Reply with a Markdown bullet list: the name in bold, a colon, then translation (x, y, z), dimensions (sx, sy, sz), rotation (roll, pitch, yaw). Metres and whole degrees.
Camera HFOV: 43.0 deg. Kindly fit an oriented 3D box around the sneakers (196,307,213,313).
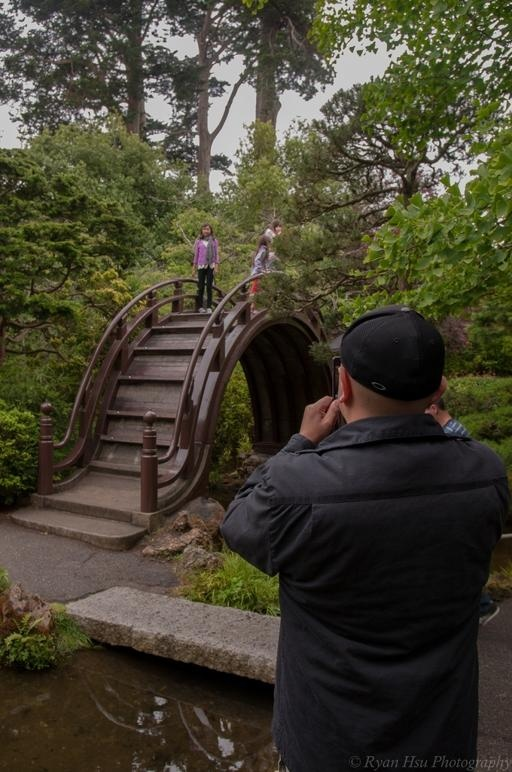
- **sneakers**: translation (-0.801, -1.191, 10.427), dimensions (0.098, 0.102, 0.228), rotation (-1, -6, -28)
